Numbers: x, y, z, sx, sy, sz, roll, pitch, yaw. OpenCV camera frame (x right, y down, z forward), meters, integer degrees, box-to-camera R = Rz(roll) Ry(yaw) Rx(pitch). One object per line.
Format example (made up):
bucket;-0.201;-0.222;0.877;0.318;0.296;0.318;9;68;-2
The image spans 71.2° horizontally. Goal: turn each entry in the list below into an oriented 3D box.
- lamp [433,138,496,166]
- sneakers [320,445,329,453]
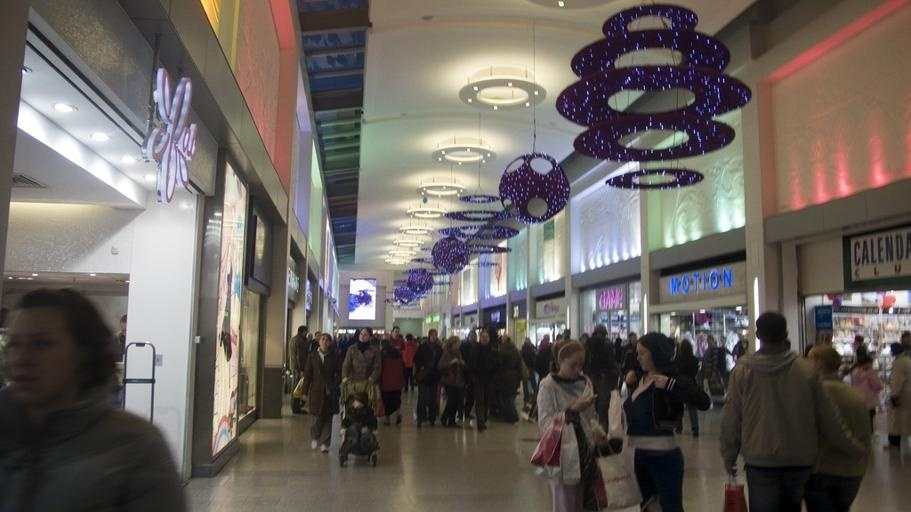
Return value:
lamp;0.305;-3.603;21.842;2.019;0.677;2.125;0;-3;3
sneakers;-2.329;3.405;11.275;0.093;0.103;0.152;3;4;0
